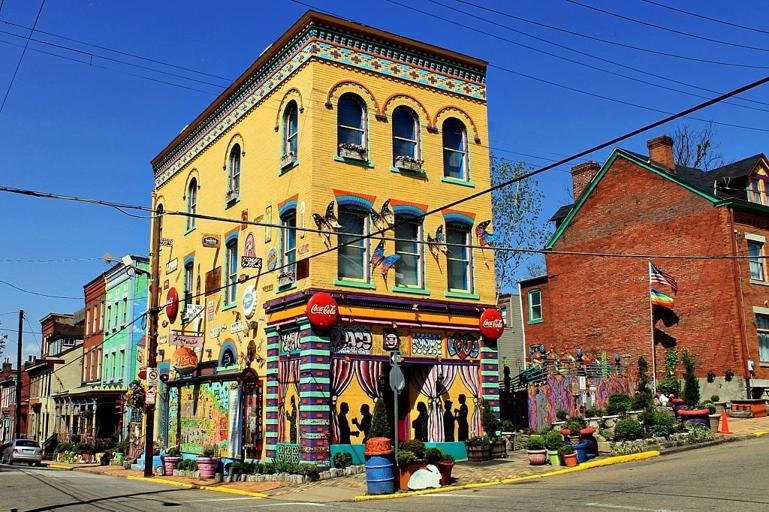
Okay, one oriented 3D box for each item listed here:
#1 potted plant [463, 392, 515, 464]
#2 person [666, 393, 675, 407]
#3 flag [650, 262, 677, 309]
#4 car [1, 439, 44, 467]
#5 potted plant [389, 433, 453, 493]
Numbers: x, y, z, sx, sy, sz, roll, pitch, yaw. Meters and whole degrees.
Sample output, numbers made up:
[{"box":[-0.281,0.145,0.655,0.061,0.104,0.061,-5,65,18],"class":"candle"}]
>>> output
[{"box":[4.552,7.876,38.034,1.608,2.851,2.254,-7,-18,16],"class":"potted plant"},{"box":[15.019,7.665,44.682,0.442,0.838,2.027,-7,-18,17],"class":"person"},{"box":[15.872,1.759,48.268,2.697,3.114,0.362,6,-10,-36],"class":"flag"},{"box":[-23.065,12.523,53.866,1.449,1.827,3.554,11,-21,-35],"class":"car"},{"box":[1.355,8.177,32.766,1.813,1.180,1.695,-10,-18,31],"class":"potted plant"}]
